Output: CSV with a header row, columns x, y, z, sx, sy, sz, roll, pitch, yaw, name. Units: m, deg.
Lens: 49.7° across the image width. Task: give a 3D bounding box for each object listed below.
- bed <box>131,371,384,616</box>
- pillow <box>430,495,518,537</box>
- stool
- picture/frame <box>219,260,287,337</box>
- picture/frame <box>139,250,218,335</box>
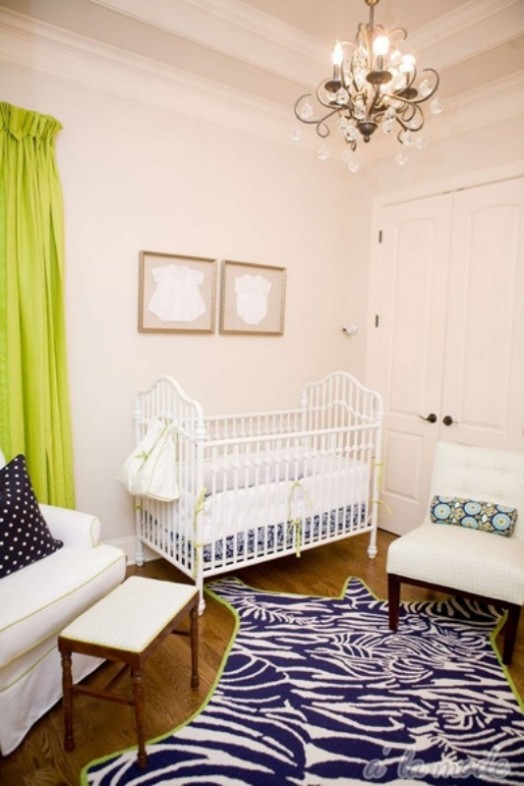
x,y,z,sx,sy,sz,roll,pitch,yaw,name
-0.111,0.318,3.112,1.198,1.139,0.986,-5,7,-39,bed
0.939,0.516,2.506,0.259,0.093,0.148,8,27,32,pillow
-0.399,0.820,1.710,0.283,0.367,0.413,3,4,15,stool
-0.067,-0.544,3.218,0.049,0.407,0.444,1,0,43,picture/frame
-0.446,-0.519,2.898,0.424,0.401,0.043,-5,8,-45,picture/frame
